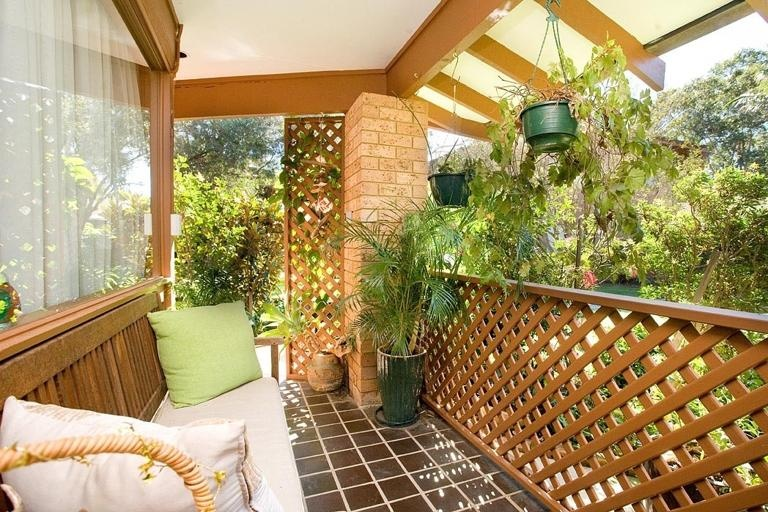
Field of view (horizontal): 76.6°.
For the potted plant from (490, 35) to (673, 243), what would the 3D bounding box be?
[{"bbox_3d":[1.185,-0.688,2.940,0.951,1.155,0.456,5,8,30],"label":"potted plant"}]
